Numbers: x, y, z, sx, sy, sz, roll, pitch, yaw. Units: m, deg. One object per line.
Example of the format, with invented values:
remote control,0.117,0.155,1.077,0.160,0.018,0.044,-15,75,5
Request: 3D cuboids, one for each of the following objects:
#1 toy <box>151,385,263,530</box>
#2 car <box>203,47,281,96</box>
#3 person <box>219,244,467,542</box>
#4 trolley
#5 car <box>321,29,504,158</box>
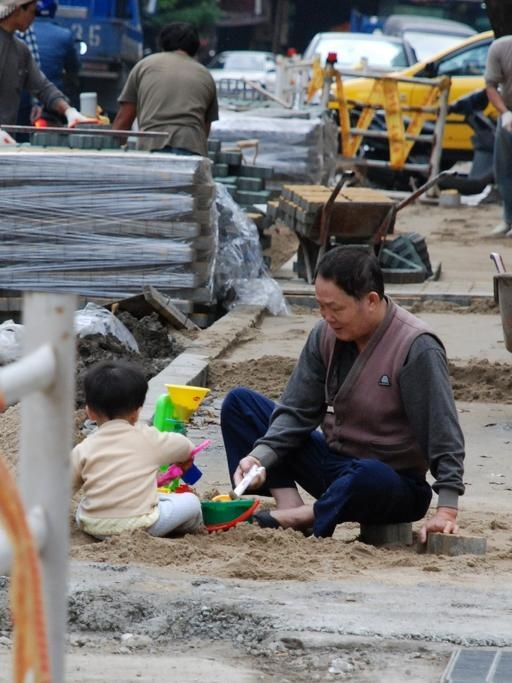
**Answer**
toy,-0.238,0.399,5.310,0.537,0.490,0.336,-3,18,-9
car,-0.240,-4.496,24.737,1.038,0.728,2.224,1,3,14
person,0.302,0.173,5.204,0.962,1.017,0.553,8,12,24
trolley,0.668,-0.907,10.995,0.741,0.786,1.319,1,13,-24
car,1.759,-2.859,16.577,1.944,1.050,1.188,6,4,2
